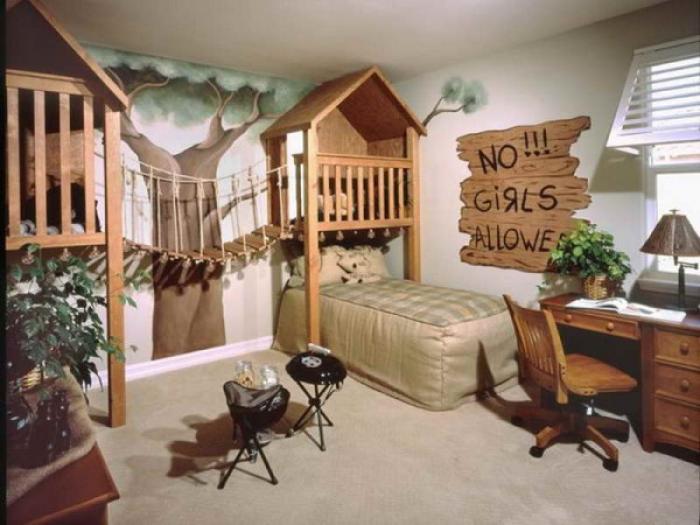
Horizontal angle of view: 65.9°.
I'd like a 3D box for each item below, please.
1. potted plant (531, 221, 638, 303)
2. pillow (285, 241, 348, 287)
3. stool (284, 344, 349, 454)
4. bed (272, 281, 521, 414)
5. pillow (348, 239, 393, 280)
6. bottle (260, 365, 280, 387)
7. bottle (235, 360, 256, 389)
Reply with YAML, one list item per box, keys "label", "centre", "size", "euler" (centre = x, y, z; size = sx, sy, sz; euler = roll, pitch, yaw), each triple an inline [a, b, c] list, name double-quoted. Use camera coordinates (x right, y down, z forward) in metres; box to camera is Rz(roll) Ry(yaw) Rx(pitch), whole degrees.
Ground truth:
- label: "potted plant"
  centre: [1.929, -0.031, 4.536]
  size: [0.635, 0.609, 0.632]
  euler: [-1, 4, -13]
- label: "pillow"
  centre: [-0.345, 0.037, 5.815]
  size: [0.619, 0.384, 0.390]
  euler: [0, 5, -2]
- label: "stool"
  centre: [-0.246, 0.943, 3.891]
  size: [0.414, 0.578, 0.406]
  euler: [-1, 1, -1]
- label: "bed"
  centre: [0.453, 0.621, 4.996]
  size: [1.037, 0.600, 1.624]
  euler: [-6, 7, -42]
- label: "pillow"
  centre: [0.239, 0.026, 6.054]
  size: [0.415, 0.370, 0.121]
  euler: [0, -32, -9]
- label: "bottle"
  centre: [-0.555, 0.777, 3.746]
  size: [0.127, 0.120, 0.126]
  euler: [0, -1, 1]
- label: "bottle"
  centre: [-0.717, 0.785, 3.800]
  size: [0.170, 0.251, 0.155]
  euler: [0, -6, 0]
